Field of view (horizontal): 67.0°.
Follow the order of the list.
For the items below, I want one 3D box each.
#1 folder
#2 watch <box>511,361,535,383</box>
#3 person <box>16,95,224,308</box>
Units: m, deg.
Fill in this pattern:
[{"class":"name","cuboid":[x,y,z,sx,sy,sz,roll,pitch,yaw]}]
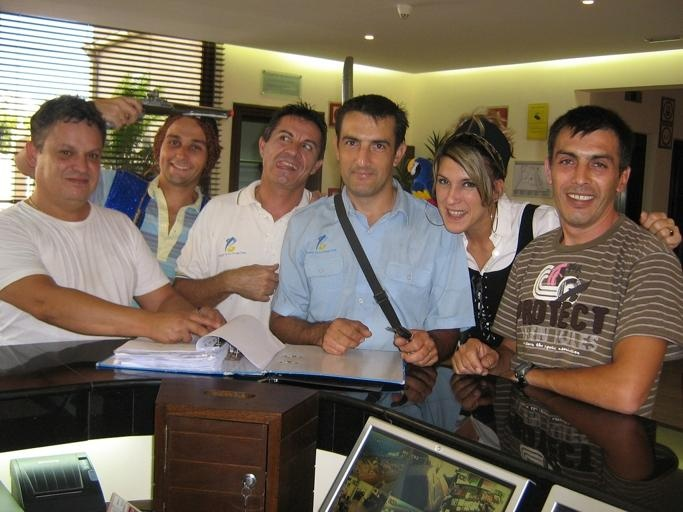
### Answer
[{"class":"folder","cuboid":[-0.266,0.351,1.729,0.618,0.088,0.394,5,1,6]},{"class":"watch","cuboid":[0.622,0.396,1.781,0.071,0.072,0.057,-2,-10,17]},{"class":"person","cuboid":[-1.027,-0.351,3.149,1.058,1.064,0.257,13,14,27]}]
